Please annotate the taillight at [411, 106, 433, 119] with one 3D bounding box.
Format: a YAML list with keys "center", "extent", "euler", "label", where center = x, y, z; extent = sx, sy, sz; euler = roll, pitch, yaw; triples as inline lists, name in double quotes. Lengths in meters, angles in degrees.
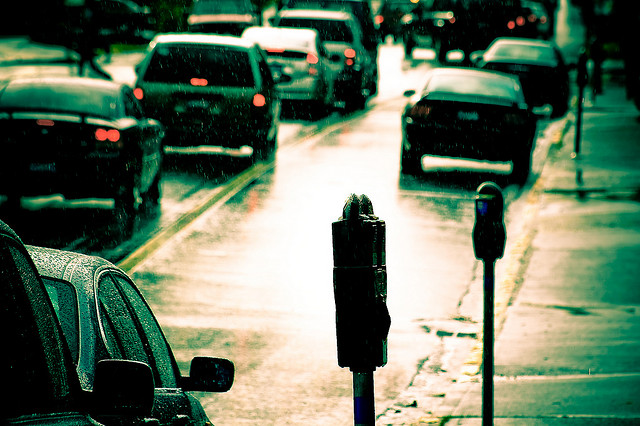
- center: [1.868, -1.810, 21.337]
  extent: [0.277, 0.233, 0.069]
  euler: [10, 12, 22]
  label: "taillight"

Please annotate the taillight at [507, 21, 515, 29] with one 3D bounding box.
- center: [6.423, -6.238, 39.381]
  extent: [0.069, 0.248, 0.320]
  euler: [9, 13, 43]
  label: "taillight"

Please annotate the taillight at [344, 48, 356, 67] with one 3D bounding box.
- center: [0.714, -3.755, 28.802]
  extent: [0.191, 0.417, 0.482]
  euler: [6, 11, 30]
  label: "taillight"

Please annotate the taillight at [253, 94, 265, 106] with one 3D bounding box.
- center: [-1.099, -2.055, 21.607]
  extent: [0.272, 0.213, 0.041]
  euler: [-10, 13, -43]
  label: "taillight"

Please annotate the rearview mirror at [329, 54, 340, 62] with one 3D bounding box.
- center: [0.388, -3.724, 28.495]
  extent: [0.177, 0.212, 0.046]
  euler: [2, -18, -14]
  label: "rearview mirror"

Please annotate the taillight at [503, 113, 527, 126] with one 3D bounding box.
- center: [3.509, -1.674, 21.200]
  extent: [0.323, 0.212, 0.069]
  euler: [6, -11, -28]
  label: "taillight"

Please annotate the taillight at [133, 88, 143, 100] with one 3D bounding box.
- center: [-3.311, -2.142, 21.329]
  extent: [0.219, 0.202, 0.128]
  euler: [9, 13, 41]
  label: "taillight"

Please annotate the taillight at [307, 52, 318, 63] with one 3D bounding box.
- center: [-0.148, -3.438, 26.252]
  extent: [0.273, 0.226, 0.059]
  euler: [-9, 13, -41]
  label: "taillight"

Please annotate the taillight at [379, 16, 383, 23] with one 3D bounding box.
- center: [2.558, -7.944, 48.605]
  extent: [0.122, 0.239, 0.483]
  euler: [1, 11, 8]
  label: "taillight"

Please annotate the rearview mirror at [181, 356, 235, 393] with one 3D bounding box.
- center: [-1.059, 1.549, 11.356]
  extent: [0.438, 0.331, 0.119]
  euler: [2, 9, 10]
  label: "rearview mirror"

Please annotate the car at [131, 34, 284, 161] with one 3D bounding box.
- center: [-2.084, -2.099, 21.973]
  extent: [2.540, 2.360, 1.371]
  euler: [-2, 10, -11]
  label: "car"
